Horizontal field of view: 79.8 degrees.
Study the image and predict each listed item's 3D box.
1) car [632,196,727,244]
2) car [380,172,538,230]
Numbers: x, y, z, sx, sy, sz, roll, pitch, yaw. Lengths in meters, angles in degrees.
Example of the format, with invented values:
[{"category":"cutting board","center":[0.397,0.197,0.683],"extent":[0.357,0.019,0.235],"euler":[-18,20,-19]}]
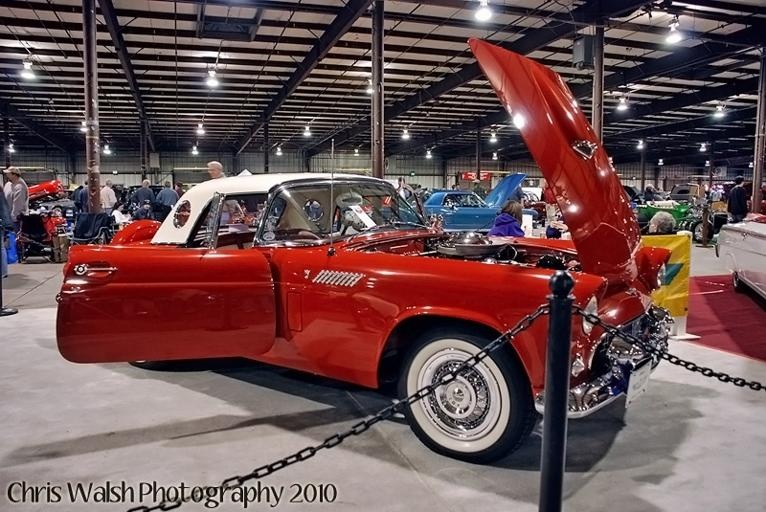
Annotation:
[{"category":"car","center":[9.865,-1.400,14.910],"extent":[1.700,1.046,2.705],"euler":[-7,29,-43]},{"category":"car","center":[2.971,-2.017,16.561],"extent":[4.462,2.122,2.238],"euler":[3,13,-7]}]
